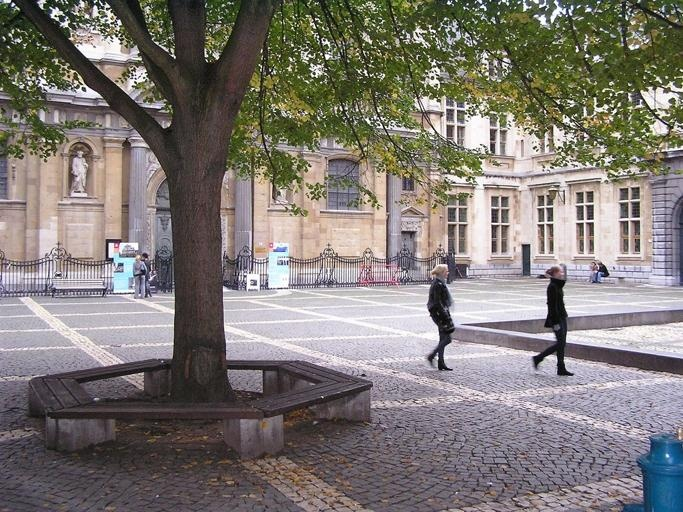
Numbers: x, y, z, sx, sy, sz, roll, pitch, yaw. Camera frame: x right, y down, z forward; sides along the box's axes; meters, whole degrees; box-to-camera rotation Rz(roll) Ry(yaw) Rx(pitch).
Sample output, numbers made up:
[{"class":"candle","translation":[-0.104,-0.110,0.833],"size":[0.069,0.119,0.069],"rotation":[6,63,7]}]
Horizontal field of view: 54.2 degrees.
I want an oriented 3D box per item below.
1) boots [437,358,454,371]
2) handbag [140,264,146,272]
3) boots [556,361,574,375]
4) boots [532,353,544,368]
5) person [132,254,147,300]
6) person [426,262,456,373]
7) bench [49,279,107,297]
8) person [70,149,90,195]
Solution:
[{"class":"boots","translation":[1.702,1.846,11.145],"size":[0.324,0.217,0.116],"rotation":[-4,6,-27]},{"class":"handbag","translation":[-7.225,0.423,24.336],"size":[0.105,0.363,0.254],"rotation":[-1,0,20]},{"class":"boots","translation":[3.685,1.864,10.983],"size":[0.264,0.155,0.331],"rotation":[-1,0,8]},{"class":"boots","translation":[3.298,1.778,11.172],"size":[0.161,0.186,0.337],"rotation":[-1,0,18]},{"class":"person","translation":[-7.362,0.775,24.467],"size":[0.419,1.585,0.718],"rotation":[-1,0,-2]},{"class":"person","translation":[1.734,1.039,11.715],"size":[0.443,1.447,1.405],"rotation":[-1,0,10]},{"class":"bench","translation":[-9.942,1.245,25.098],"size":[1.951,0.681,1.882],"rotation":[-1,0,-40]},{"class":"person","translation":[-12.172,-3.886,30.933],"size":[0.807,2.208,0.504],"rotation":[-1,0,-20]}]
